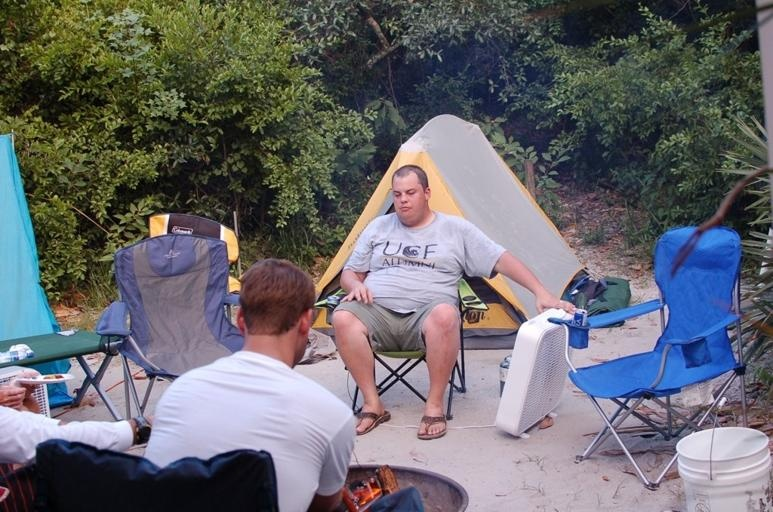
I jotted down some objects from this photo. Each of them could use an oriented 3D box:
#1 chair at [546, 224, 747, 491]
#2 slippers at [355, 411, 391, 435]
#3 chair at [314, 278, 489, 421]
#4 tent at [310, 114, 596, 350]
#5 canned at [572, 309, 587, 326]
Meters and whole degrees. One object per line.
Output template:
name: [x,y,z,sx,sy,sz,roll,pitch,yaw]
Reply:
chair: [1.962,0.623,5.578,1.266,1.517,0.985,-18,21,-40]
slippers: [-0.102,1.233,6.073,0.110,0.089,0.286,-4,6,39]
chair: [0.195,0.830,6.601,1.481,1.408,1.030,0,-5,5]
tent: [0.856,-0.394,8.207,2.208,1.643,2.248,-2,8,6]
canned: [1.324,0.417,5.614,0.103,0.113,0.104,1,-2,11]
